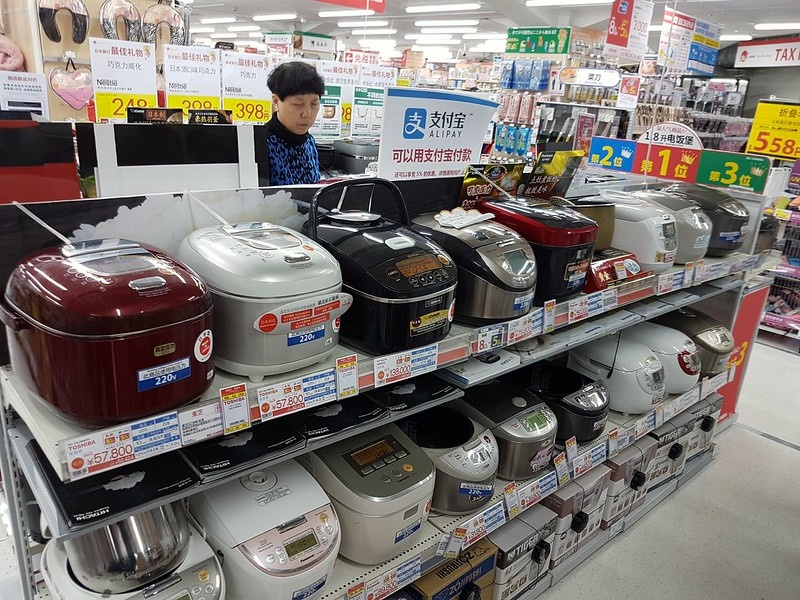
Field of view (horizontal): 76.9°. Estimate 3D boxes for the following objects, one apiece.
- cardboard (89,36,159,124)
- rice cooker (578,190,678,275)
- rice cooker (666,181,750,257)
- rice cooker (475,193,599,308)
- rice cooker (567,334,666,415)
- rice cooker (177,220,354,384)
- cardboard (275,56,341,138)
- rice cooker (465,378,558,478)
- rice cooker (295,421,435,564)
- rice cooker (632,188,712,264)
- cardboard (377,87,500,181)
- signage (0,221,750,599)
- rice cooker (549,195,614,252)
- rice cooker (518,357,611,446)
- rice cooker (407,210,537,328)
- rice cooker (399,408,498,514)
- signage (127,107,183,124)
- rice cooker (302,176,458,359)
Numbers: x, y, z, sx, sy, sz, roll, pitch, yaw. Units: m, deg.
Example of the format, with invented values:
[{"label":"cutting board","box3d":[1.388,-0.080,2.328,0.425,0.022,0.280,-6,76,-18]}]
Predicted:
[{"label":"cardboard","box3d":[-2.355,-1.841,4.203,0.354,0.598,0.574,9,26,14]},{"label":"rice cooker","box3d":[1.065,-0.320,2.404,0.295,0.327,0.474,-21,27,-38]},{"label":"rice cooker","box3d":[1.625,-0.481,2.780,0.362,0.278,0.449,-14,29,-24]},{"label":"rice cooker","box3d":[0.495,-0.197,1.964,0.348,0.331,0.462,-15,23,-39]},{"label":"rice cooker","box3d":[1.098,0.334,2.554,0.387,0.337,0.498,-12,19,-31]},{"label":"rice cooker","box3d":[-0.361,-0.010,1.328,0.425,0.303,0.334,20,28,35]},{"label":"cardboard","box3d":[-0.561,-1.078,2.702,0.278,0.369,0.214,-5,27,-13]},{"label":"rice cooker","box3d":[0.395,0.514,2.063,0.293,0.258,0.393,-18,30,-37]},{"label":"rice cooker","box3d":[-0.134,0.591,1.680,0.343,0.281,0.440,-13,19,-37]},{"label":"rice cooker","box3d":[1.336,-0.382,2.587,0.459,0.305,0.346,22,31,39]},{"label":"cardboard","box3d":[0.144,-0.589,1.811,0.559,0.305,0.040,-14,25,-38]},{"label":"signage","box3d":[-0.028,0.346,1.514,1.859,0.390,0.486,-13,15,-36]},{"label":"rice cooker","box3d":[0.753,-0.342,2.215,0.347,0.213,0.331,3,13,13]},{"label":"rice cooker","box3d":[0.684,0.411,2.258,0.263,0.172,0.436,-21,32,-30]},{"label":"rice cooker","box3d":[0.229,-0.138,1.792,0.525,0.297,0.376,20,32,31]},{"label":"rice cooker","box3d":[0.154,0.584,1.873,0.293,0.229,0.406,-14,22,-43]},{"label":"signage","box3d":[-1.276,-0.961,2.607,0.249,0.054,0.218,-10,27,-24]},{"label":"rice cooker","box3d":[-0.114,-0.152,1.540,0.366,0.443,0.584,-17,34,-38]}]
